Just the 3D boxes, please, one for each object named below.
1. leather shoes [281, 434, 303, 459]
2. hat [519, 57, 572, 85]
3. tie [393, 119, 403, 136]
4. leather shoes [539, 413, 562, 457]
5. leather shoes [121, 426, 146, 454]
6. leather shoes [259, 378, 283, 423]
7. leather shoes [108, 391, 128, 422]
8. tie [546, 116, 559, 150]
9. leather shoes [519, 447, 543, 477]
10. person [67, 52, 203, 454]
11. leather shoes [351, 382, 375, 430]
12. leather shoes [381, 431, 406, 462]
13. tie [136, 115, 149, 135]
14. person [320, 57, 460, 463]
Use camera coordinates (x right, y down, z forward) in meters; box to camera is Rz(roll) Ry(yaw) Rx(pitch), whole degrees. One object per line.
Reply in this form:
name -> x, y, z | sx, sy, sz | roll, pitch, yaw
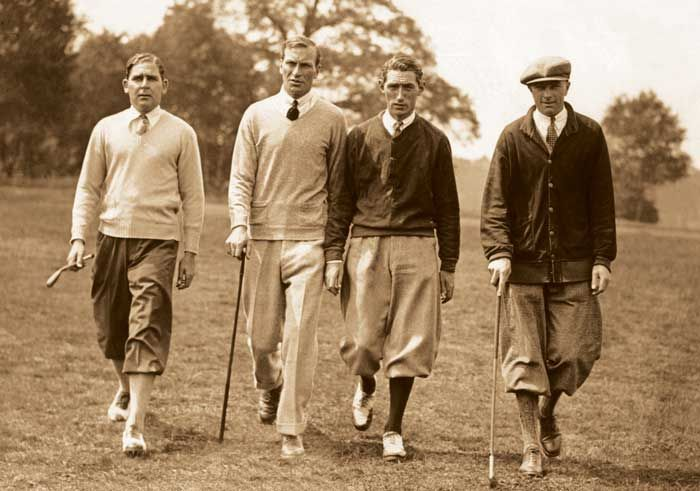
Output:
leather shoes -> -0.510, 1.705, 11.915 | 0.224, 0.192, 0.119 | 4, 0, 27
hat -> 1.631, -1.460, 11.839 | 0.437, 0.246, 0.219 | 4, 1, 21
tie -> 0.399, -0.988, 11.924 | 0.099, 0.117, 0.036 | 3, -9, 7
leather shoes -> 1.705, 1.634, 12.138 | 0.152, 0.386, 0.176 | -7, -14, 10
leather shoes -> -1.786, 1.640, 11.785 | 0.193, 0.226, 0.131 | 4, 1, -6
leather shoes -> -0.694, 1.367, 12.414 | 0.155, 0.157, 0.413 | 6, 41, -2
leather shoes -> -1.994, 1.419, 12.264 | 0.128, 0.135, 0.325 | 16, 5, -15
tie -> 1.688, -0.931, 11.897 | 0.098, 0.288, 0.029 | 4, 0, 12
leather shoes -> 1.507, 1.803, 11.782 | 0.198, 0.244, 0.128 | 4, 0, 7
person -> -1.813, 0.060, 11.971 | 1.089, 3.331, 0.545 | 4, 0, -6
leather shoes -> 0.108, 1.405, 12.342 | 0.165, 0.417, 0.182 | 0, 8, -5
leather shoes -> 0.377, 1.694, 11.893 | 0.200, 0.240, 0.130 | 4, 1, -5
tie -> -1.754, -1.025, 12.043 | 0.119, 0.136, 0.049 | 6, -7, 2
person -> 0.347, 0.093, 12.027 | 1.114, 3.387, 0.418 | 4, 0, 3
